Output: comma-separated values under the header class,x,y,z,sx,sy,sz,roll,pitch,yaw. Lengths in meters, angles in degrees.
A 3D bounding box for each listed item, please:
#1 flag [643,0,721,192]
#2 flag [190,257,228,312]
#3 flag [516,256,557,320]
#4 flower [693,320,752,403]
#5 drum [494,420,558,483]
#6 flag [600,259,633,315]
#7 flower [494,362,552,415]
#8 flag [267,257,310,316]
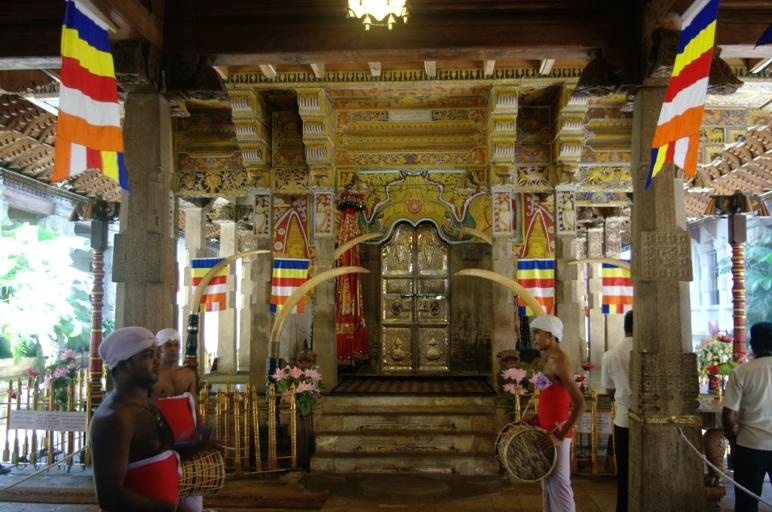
class,x,y,z,sx,sy,sz,roll,pitch,yaw
flag,3.725,-2.026,10.682,0.317,2.200,1.066,3,-11,-23
flag,-3.428,0.523,16.655,0.650,1.128,1.684,1,-10,-12
flag,2.736,0.560,15.613,0.659,0.997,0.291,-1,-11,-1
flower,5.843,1.868,14.956,0.884,1.288,0.932,2,0,-29
drum,1.840,2.591,11.003,0.310,0.784,0.747,-19,-23,-13
flag,4.467,0.621,16.620,0.544,0.991,0.580,-3,-11,12
flower,2.141,2.297,14.185,0.857,0.733,0.701,6,-13,-22
flag,-1.802,0.572,16.117,0.838,1.051,0.080,1,-6,27
